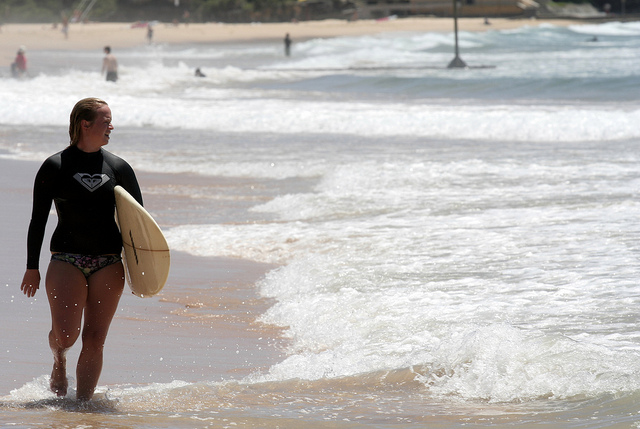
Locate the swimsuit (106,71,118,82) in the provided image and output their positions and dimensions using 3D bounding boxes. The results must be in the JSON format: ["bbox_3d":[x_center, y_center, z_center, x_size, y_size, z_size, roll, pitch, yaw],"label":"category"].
[{"bbox_3d":[-5.531,-3.692,38.476,0.327,0.237,0.068,18,16,12],"label":"swimsuit"}]

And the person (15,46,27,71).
[{"bbox_3d":[-8.242,-4.309,39.869,0.306,0.655,0.726,-2,9,-10],"label":"person"}]

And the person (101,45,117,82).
[{"bbox_3d":[-5.640,-4.010,38.657,0.399,0.839,0.705,-2,9,-8],"label":"person"}]
